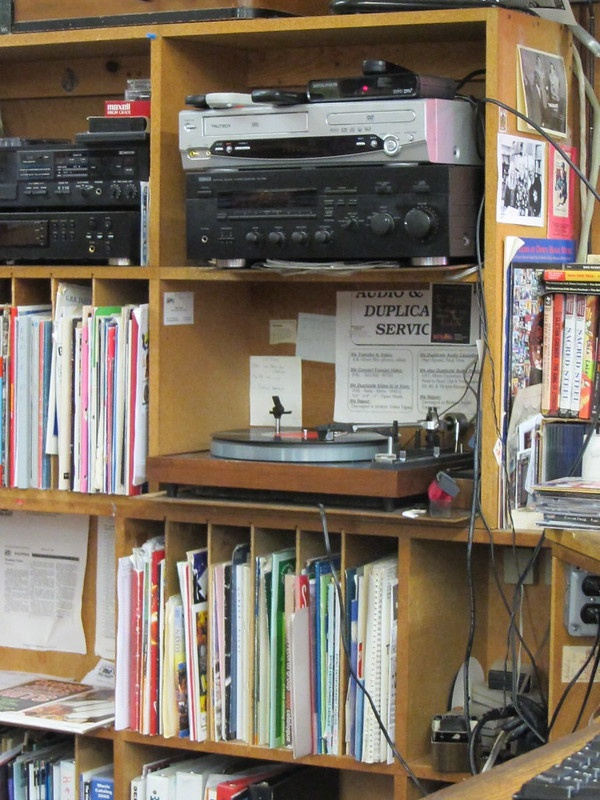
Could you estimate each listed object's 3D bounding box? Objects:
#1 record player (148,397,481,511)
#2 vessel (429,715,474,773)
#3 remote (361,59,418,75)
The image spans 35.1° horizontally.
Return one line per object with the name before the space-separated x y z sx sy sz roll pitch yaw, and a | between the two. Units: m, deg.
record player | 0.012 0.121 1.764 0.649 0.181 0.428 -4 -4 7
vessel | 0.260 0.595 1.646 0.071 0.085 0.093 5 -9 -4
remote | 0.152 -0.550 1.566 0.083 0.023 0.044 -2 4 -14
